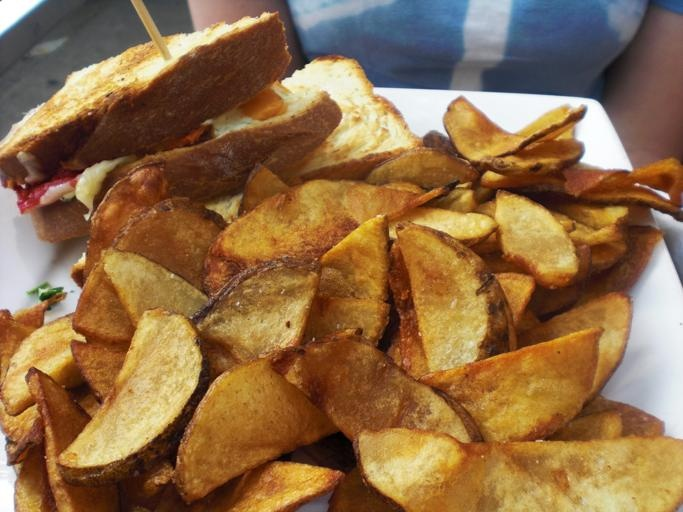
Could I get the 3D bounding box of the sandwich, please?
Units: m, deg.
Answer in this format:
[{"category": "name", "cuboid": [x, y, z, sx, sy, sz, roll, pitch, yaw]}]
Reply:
[{"category": "sandwich", "cuboid": [-0.252, -0.170, 1.623, 0.755, 0.231, 0.529, -15, 39, -8]}]
